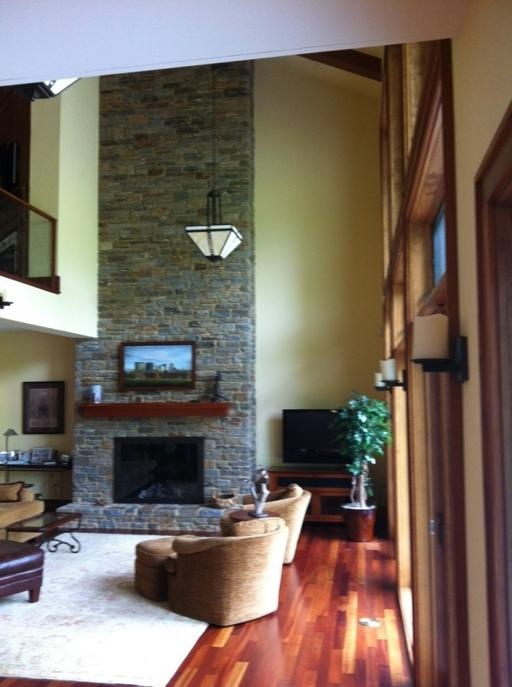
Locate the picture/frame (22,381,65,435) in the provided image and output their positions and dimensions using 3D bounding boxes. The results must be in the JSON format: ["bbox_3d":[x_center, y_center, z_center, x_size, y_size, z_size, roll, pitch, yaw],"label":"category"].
[{"bbox_3d":[-3.185,0.984,9.265,0.849,0.997,0.068,-2,-11,1],"label":"picture/frame"}]

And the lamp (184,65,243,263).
[{"bbox_3d":[-0.415,-1.612,5.809,0.510,1.332,0.480,2,17,1],"label":"lamp"}]

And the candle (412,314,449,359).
[{"bbox_3d":[0.555,-0.019,2.027,0.144,0.153,0.139,3,-6,13],"label":"candle"}]

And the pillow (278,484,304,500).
[{"bbox_3d":[0.373,1.462,6.107,0.220,0.079,0.214,-5,-3,11],"label":"pillow"}]

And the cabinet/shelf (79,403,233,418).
[{"bbox_3d":[-1.303,0.849,7.836,1.927,0.206,0.308,-2,-6,13],"label":"cabinet/shelf"}]

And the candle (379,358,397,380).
[{"bbox_3d":[1.041,0.206,4.855,0.142,0.220,0.153,0,-3,27],"label":"candle"}]

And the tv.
[{"bbox_3d":[0.805,1.154,7.607,0.853,0.677,0.289,0,-4,11],"label":"tv"}]

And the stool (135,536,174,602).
[{"bbox_3d":[-0.830,1.760,4.859,0.490,0.365,0.474,0,3,-12],"label":"stool"}]

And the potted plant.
[{"bbox_3d":[1.234,1.401,7.038,0.638,1.624,1.169,-2,-6,12],"label":"potted plant"}]
